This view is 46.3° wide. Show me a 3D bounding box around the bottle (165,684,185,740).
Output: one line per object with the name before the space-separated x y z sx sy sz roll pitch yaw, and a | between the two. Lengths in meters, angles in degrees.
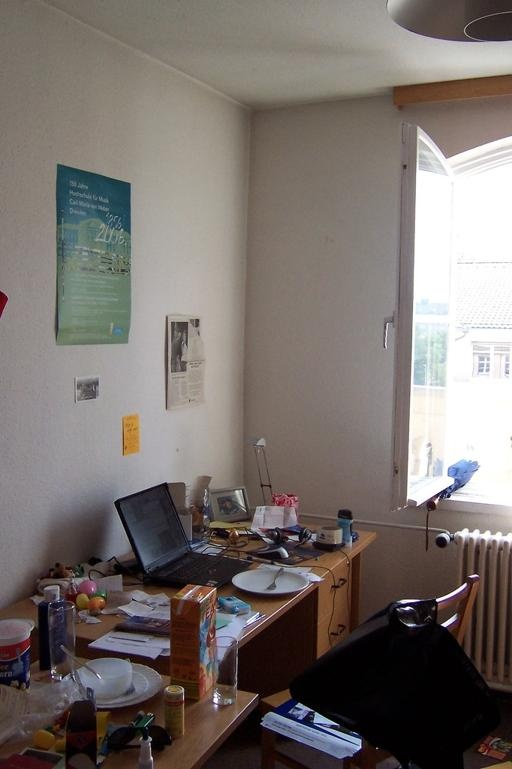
bottle | -0.140 0.560 1.031 0.031 0.077 0.030 1 2 0

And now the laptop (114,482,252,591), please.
laptop | -0.231 0.474 1.930 0.391 0.266 0.445 -1 -3 -5

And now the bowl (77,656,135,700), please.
bowl | -0.298 0.555 1.165 0.083 0.050 0.082 0 3 0

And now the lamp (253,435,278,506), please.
lamp | 0.033 0.443 3.033 0.096 0.331 0.055 0 3 31

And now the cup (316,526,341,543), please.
cup | 0.273 0.547 2.216 0.061 0.043 0.063 1 -7 0

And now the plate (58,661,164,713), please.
plate | -0.245 0.578 1.145 0.097 0.017 0.097 0 8 -31
